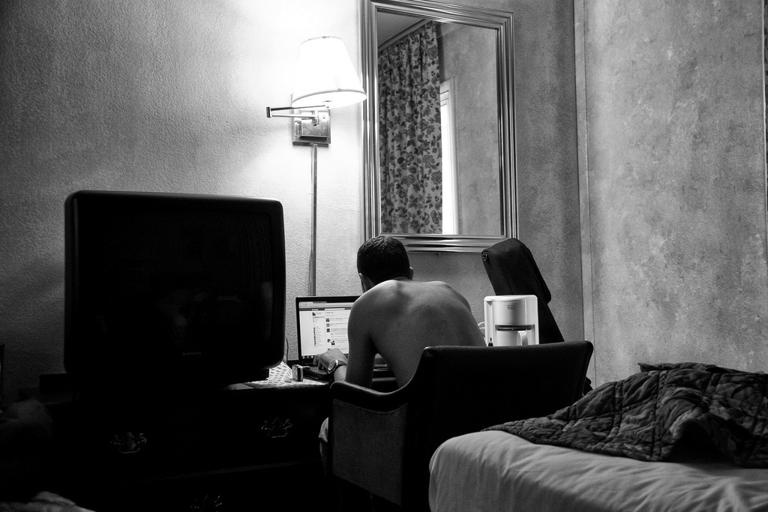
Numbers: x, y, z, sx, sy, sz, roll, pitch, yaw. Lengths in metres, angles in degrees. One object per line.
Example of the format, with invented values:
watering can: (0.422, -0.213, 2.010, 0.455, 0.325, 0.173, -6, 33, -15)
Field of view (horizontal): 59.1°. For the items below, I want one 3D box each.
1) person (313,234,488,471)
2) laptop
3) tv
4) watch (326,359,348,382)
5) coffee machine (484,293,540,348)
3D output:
person: (0.159, 0.471, 3.093, 0.831, 1.073, 0.653, -12, -8, 37)
laptop: (-0.129, 0.414, 3.622, 0.461, 0.399, 0.583, -2, -4, 43)
tv: (-1.044, 0.169, 3.150, 0.591, 0.926, 1.131, 1, 1, 43)
watch: (-0.227, 0.534, 3.219, 0.042, 0.079, 0.104, 35, -13, -17)
coffee machine: (0.749, 0.386, 3.637, 0.271, 0.372, 0.392, -4, -2, 31)
